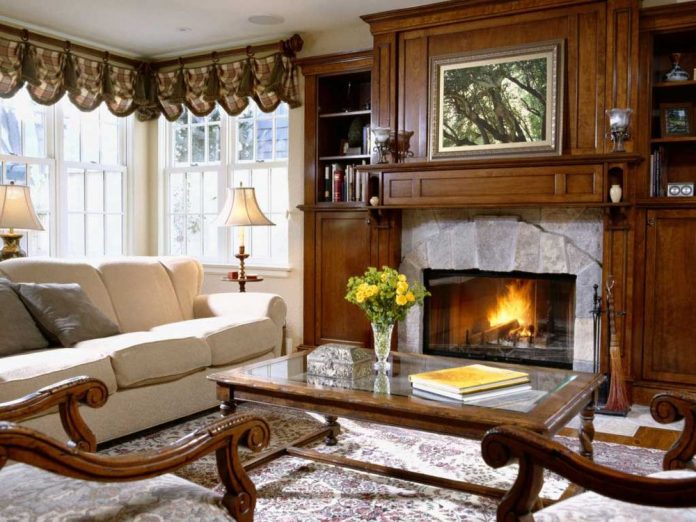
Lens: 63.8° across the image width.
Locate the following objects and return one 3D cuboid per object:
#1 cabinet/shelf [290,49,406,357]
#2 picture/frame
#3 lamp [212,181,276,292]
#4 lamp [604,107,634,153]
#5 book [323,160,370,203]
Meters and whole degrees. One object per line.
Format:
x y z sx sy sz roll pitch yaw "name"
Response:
0.006 -0.517 5.090 0.983 2.692 0.550 3 11 32 "cabinet/shelf"
1.193 -1.248 4.321 1.087 0.902 0.076 0 -3 18 "picture/frame"
-0.924 -0.186 4.879 0.762 0.981 0.755 -1 3 -14 "lamp"
1.905 -0.928 3.929 0.175 0.314 0.216 1 10 26 "lamp"
-0.013 -0.705 5.082 0.357 0.473 0.476 2 2 28 "book"
